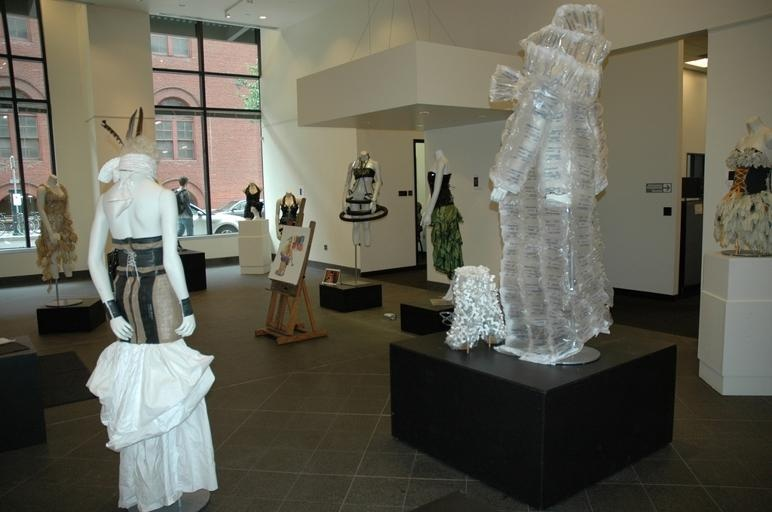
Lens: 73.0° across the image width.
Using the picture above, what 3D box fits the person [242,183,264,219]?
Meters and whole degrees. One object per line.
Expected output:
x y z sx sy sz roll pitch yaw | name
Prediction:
-3.228 -1.350 12.685 0.419 0.842 0.972 -4 12 -15 | person

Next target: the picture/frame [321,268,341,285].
-0.958 0.360 9.089 0.281 0.239 0.102 5 0 35 | picture/frame
